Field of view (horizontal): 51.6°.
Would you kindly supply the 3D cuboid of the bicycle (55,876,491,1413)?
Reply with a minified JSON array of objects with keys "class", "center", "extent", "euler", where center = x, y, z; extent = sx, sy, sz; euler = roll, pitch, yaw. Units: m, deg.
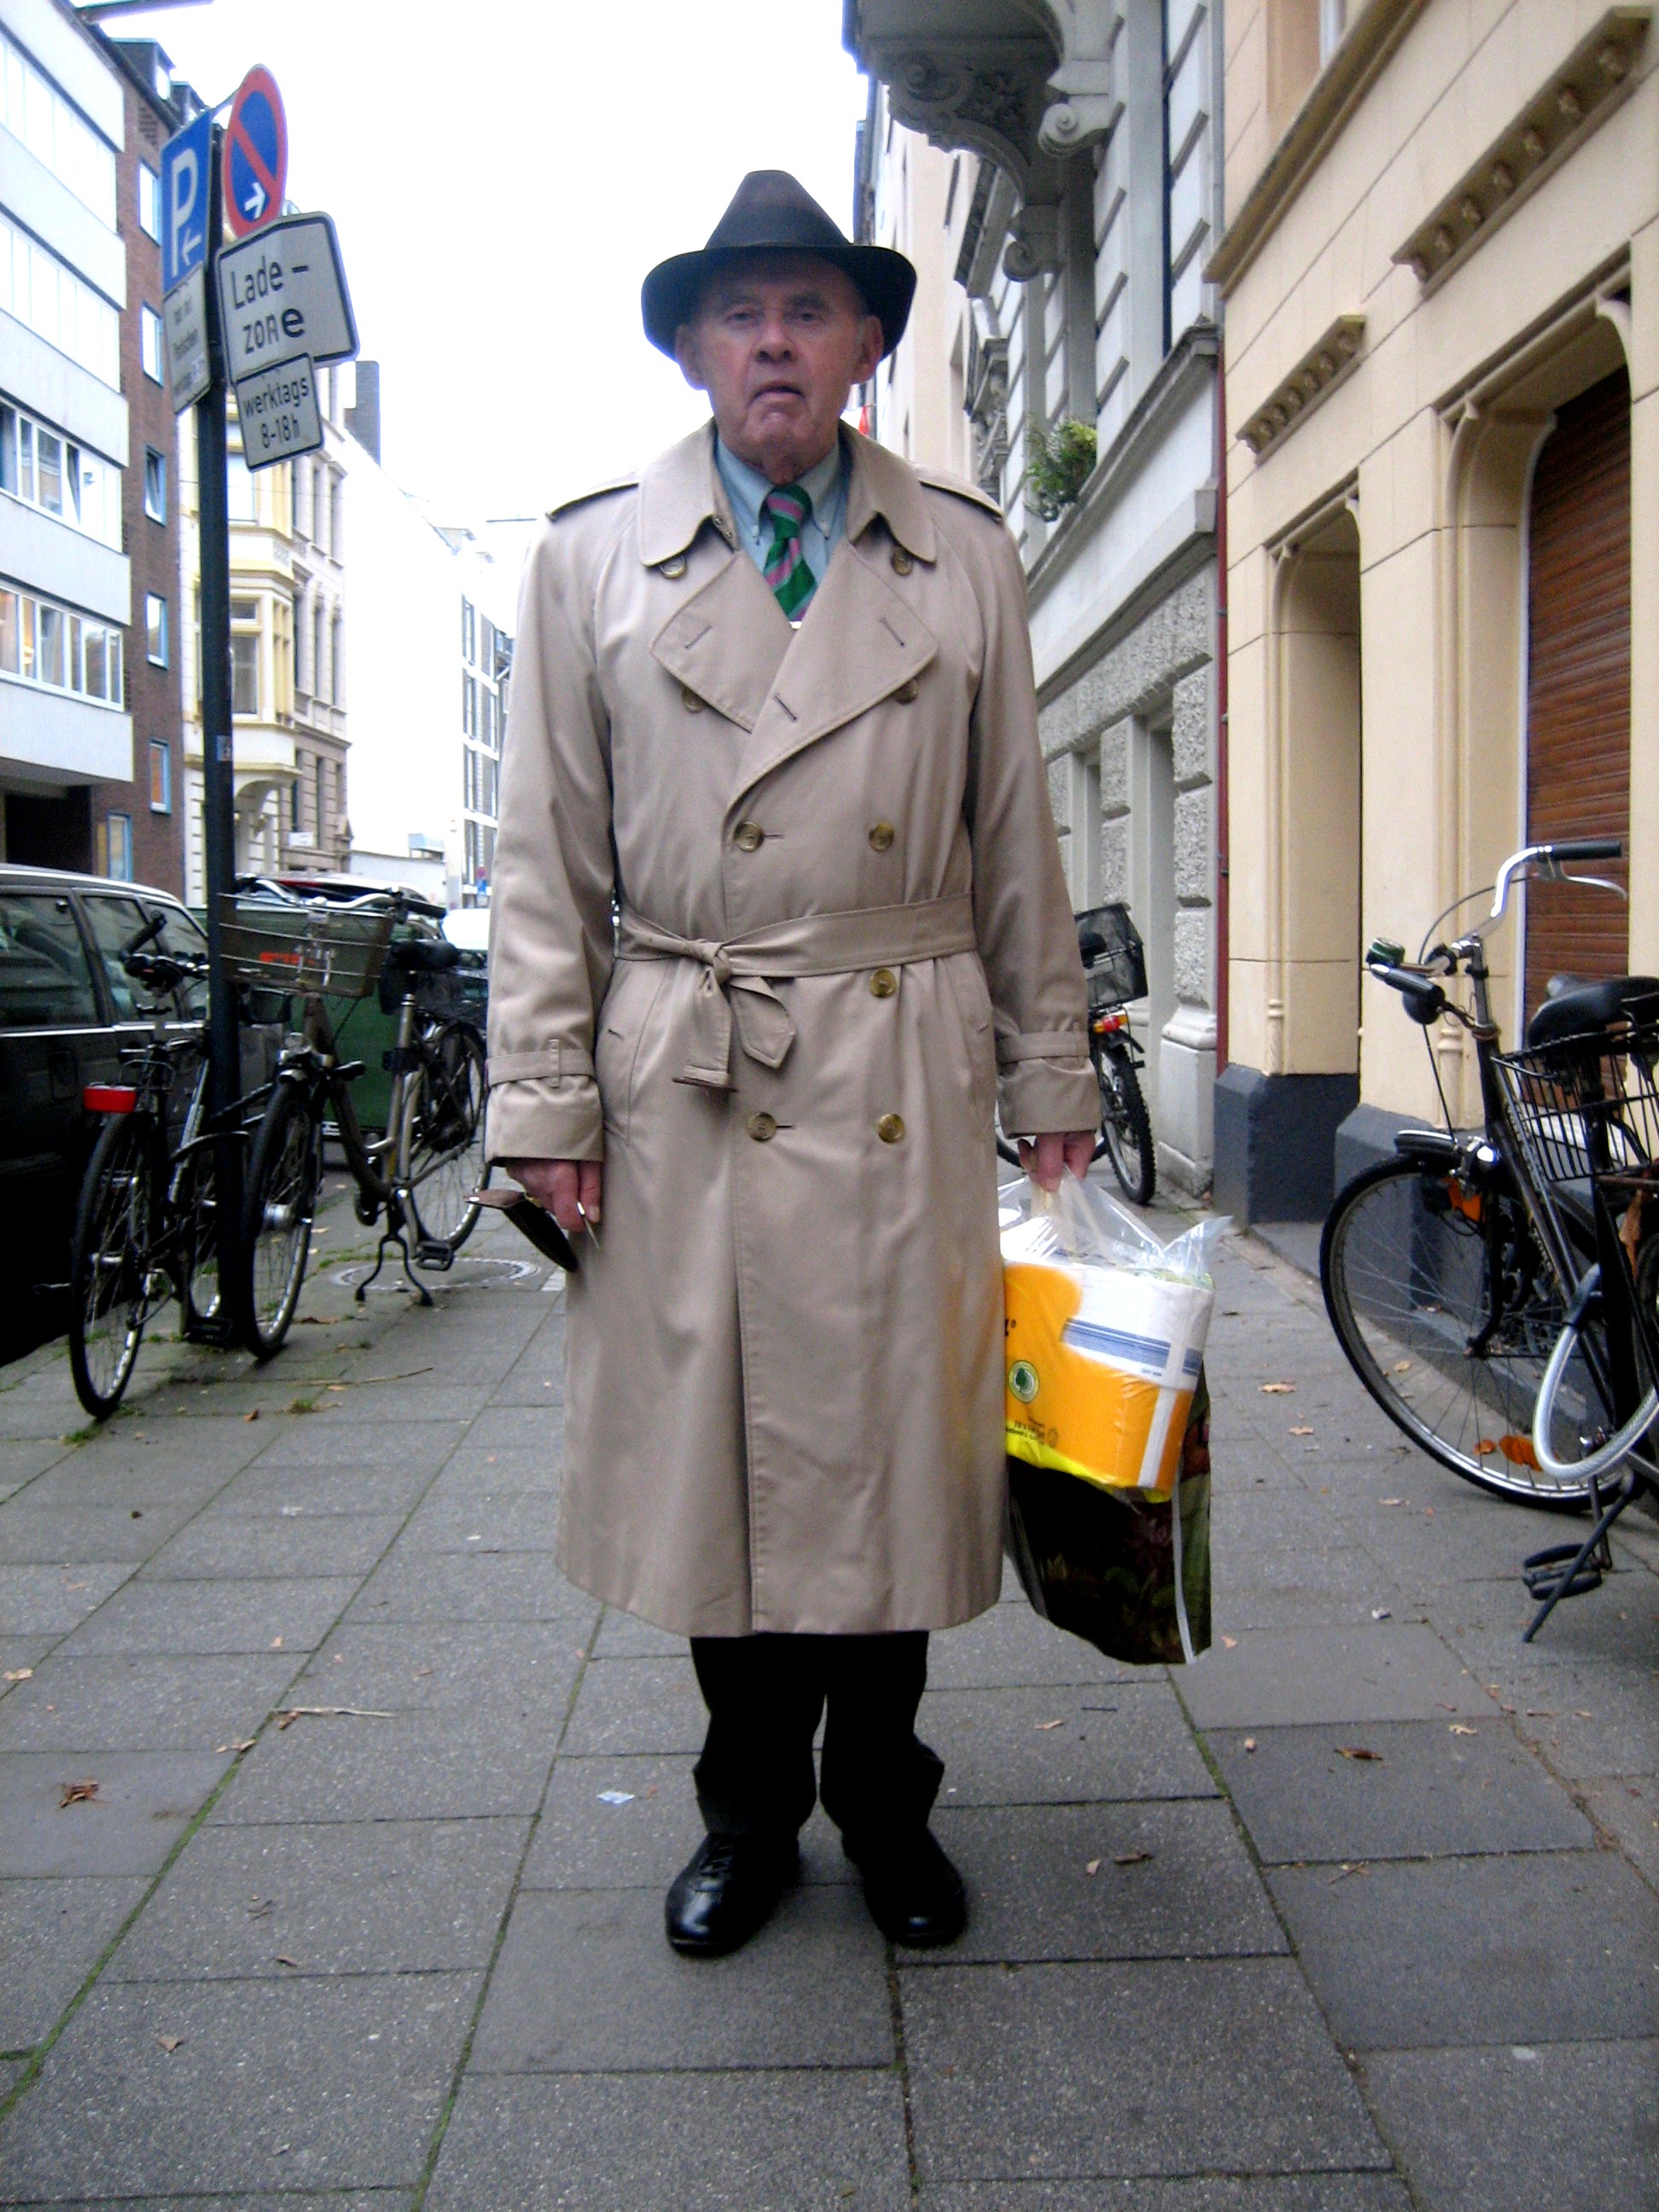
[{"class":"bicycle","center":[-1.921,0.019,5.729],"extent":[0.677,1.177,2.520],"euler":[0,1,13]}]

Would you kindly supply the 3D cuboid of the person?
[{"class":"person","center":[-0.033,-0.230,1.918],"extent":[0.688,1.585,0.317],"euler":[-1,0,-14]}]

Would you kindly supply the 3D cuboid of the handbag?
[{"class":"handbag","center":[0.314,0.347,1.904],"extent":[0.223,0.523,0.354],"euler":[-1,1,-23]}]

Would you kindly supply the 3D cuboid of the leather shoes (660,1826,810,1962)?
[{"class":"leather shoes","center":[-0.122,0.900,1.973],"extent":[0.062,0.089,0.197],"euler":[4,-5,19]}]

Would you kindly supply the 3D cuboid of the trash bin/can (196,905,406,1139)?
[{"class":"trash bin/can","center":[-1.825,-0.364,6.284],"extent":[0.564,1.035,0.944],"euler":[1,6,-14]}]
